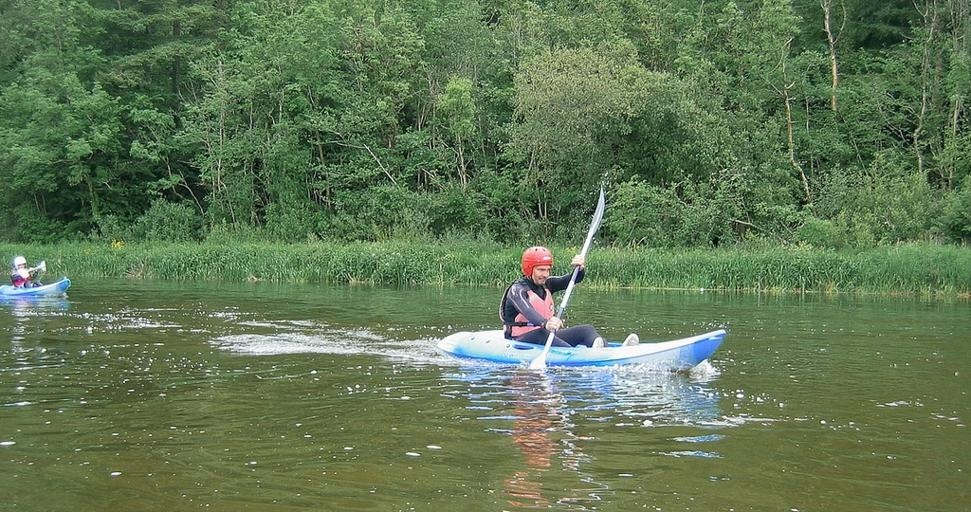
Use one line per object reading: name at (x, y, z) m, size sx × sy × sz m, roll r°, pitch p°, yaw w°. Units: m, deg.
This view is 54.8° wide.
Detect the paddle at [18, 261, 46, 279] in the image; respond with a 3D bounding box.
paddle at (-21.055, 0.610, 43.359) m, size 1.602 × 0.754 × 0.267 m, roll -15°, pitch -41°, yaw 19°

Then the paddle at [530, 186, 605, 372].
paddle at (3.593, 0.828, 39.637) m, size 1.182 × 9.743 × 0.643 m, roll 33°, pitch -26°, yaw -17°
